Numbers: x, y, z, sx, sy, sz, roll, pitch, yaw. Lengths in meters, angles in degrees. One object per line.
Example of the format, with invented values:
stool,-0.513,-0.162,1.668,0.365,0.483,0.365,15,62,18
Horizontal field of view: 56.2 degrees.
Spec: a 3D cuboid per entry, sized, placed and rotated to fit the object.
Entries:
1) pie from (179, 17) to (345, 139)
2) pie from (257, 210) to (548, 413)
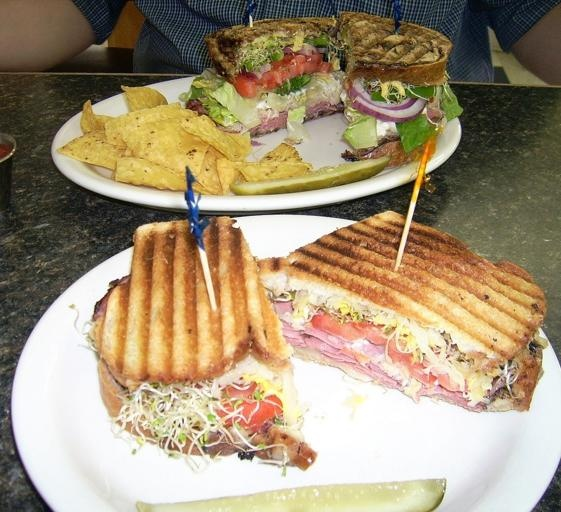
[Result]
pie,-0.030,-1.005,2.939,1.136,0.324,0.657,-2,78,-11
pie,0.465,0.179,1.723,1.015,0.347,0.568,18,37,34
